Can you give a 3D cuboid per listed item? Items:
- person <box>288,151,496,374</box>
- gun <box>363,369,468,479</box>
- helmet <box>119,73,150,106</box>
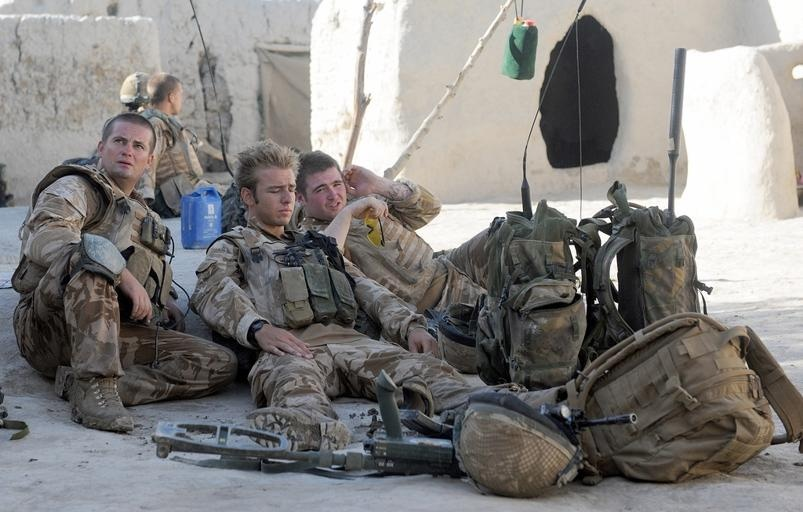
[{"bbox_3d":[-0.369,-0.016,10.650,2.190,0.989,1.316,35,33,14],"label":"person"},{"bbox_3d":[0.128,1.239,8.218,0.731,0.738,0.247,1,-10,17],"label":"gun"},{"bbox_3d":[-3.304,-2.051,13.943,0.386,0.424,0.375,-3,-5,-10],"label":"helmet"}]
